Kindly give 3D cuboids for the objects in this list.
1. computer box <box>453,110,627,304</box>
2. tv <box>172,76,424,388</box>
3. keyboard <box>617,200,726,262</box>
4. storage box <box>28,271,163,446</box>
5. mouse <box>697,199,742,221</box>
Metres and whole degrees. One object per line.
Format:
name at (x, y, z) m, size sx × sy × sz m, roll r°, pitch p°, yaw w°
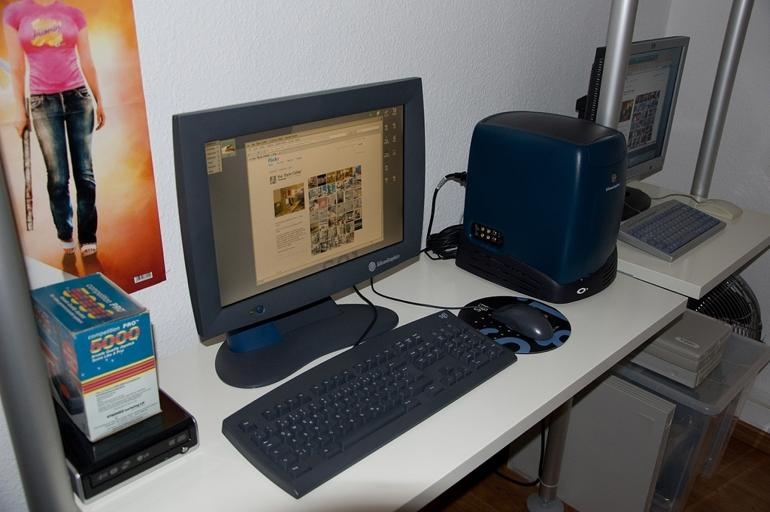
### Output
computer box at (0.471, -0.226, 1.782) m, size 0.412 × 0.539 × 0.555 m, roll -25°, pitch 36°, yaw -36°
tv at (-0.227, -0.058, 1.329) m, size 0.602 × 0.542 × 0.219 m, roll -21°, pitch 38°, yaw -38°
keyboard at (0.923, -0.148, 1.803) m, size 0.330 × 0.044 × 0.190 m, roll -27°, pitch 44°, yaw -33°
storage box at (-0.581, 0.213, 1.108) m, size 0.230 × 0.275 × 0.148 m, roll 23°, pitch 32°, yaw 33°
mouse at (1.197, -0.168, 2.014) m, size 0.085 × 0.041 × 0.112 m, roll -23°, pitch 33°, yaw -33°
